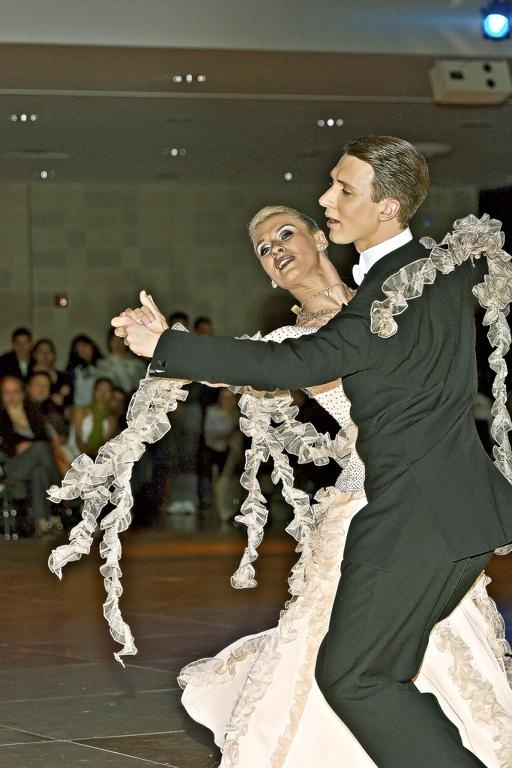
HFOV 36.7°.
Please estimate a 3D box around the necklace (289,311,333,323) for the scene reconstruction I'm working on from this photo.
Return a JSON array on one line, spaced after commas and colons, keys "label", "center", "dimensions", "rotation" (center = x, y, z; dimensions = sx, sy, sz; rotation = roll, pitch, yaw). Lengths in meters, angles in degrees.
[{"label": "necklace", "center": [0.139, -0.159, 1.891], "dimensions": [0.090, 0.023, 0.064], "rotation": [-3, 2, 33]}]
